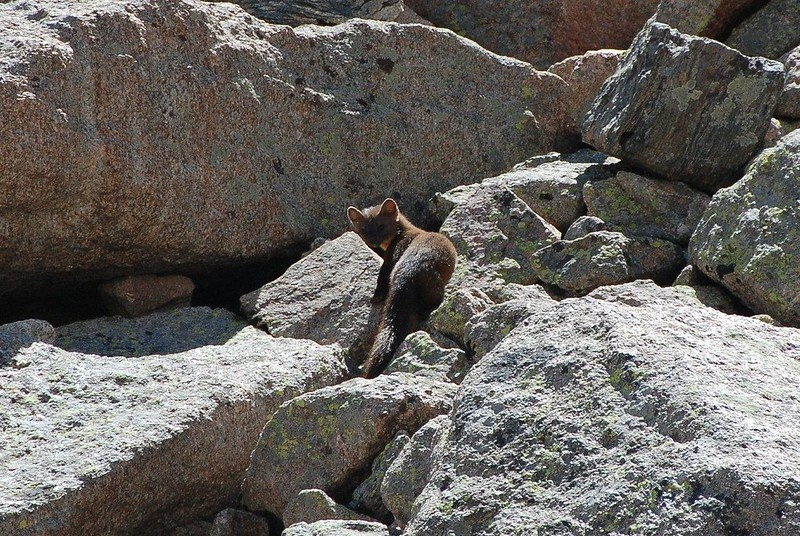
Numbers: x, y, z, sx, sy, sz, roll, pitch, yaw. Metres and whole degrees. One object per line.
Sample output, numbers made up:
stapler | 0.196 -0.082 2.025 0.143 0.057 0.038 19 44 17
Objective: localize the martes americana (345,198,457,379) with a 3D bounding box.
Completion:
martes americana | 0.072 0.007 20.550 0.688 0.946 2.434 24 25 -18
